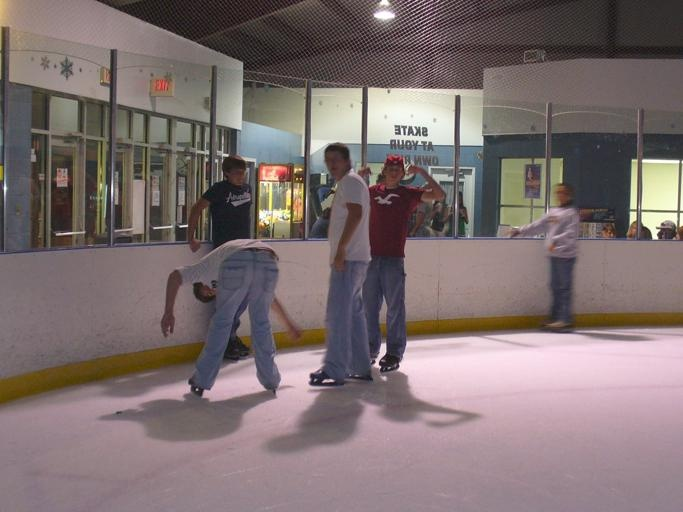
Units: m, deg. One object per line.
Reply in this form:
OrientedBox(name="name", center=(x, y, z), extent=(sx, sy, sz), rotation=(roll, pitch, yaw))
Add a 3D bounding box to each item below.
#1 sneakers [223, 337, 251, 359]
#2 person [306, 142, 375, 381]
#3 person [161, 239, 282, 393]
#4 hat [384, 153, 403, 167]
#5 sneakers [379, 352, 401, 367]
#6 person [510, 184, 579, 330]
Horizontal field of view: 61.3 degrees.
OrientedBox(name="sneakers", center=(-0.932, 0.888, 5.511), extent=(0.321, 0.248, 0.112), rotation=(-3, -2, 18))
OrientedBox(name="person", center=(0.012, 0.066, 4.674), extent=(0.507, 1.955, 0.387), rotation=(1, 4, 3))
OrientedBox(name="person", center=(-0.782, 0.434, 4.508), extent=(0.968, 1.336, 1.028), rotation=(5, -2, -8))
OrientedBox(name="hat", center=(0.491, -0.894, 5.390), extent=(0.116, 0.085, 0.167), rotation=(4, 18, 0))
OrientedBox(name="sneakers", center=(0.424, 0.932, 5.177), extent=(0.085, 0.091, 0.204), rotation=(-5, -12, 38))
OrientedBox(name="person", center=(2.611, 0.004, 7.226), extent=(0.604, 1.815, 0.290), rotation=(2, 4, 22))
